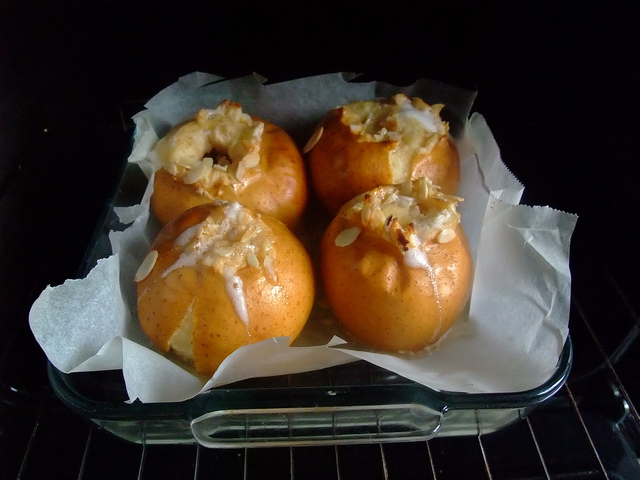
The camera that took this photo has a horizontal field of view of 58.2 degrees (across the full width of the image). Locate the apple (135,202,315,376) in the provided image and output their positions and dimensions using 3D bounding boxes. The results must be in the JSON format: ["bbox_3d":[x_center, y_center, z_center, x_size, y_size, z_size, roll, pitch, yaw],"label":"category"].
[{"bbox_3d":[-0.208,0.095,1.203,0.356,0.183,0.305,23,60,11],"label":"apple"}]
